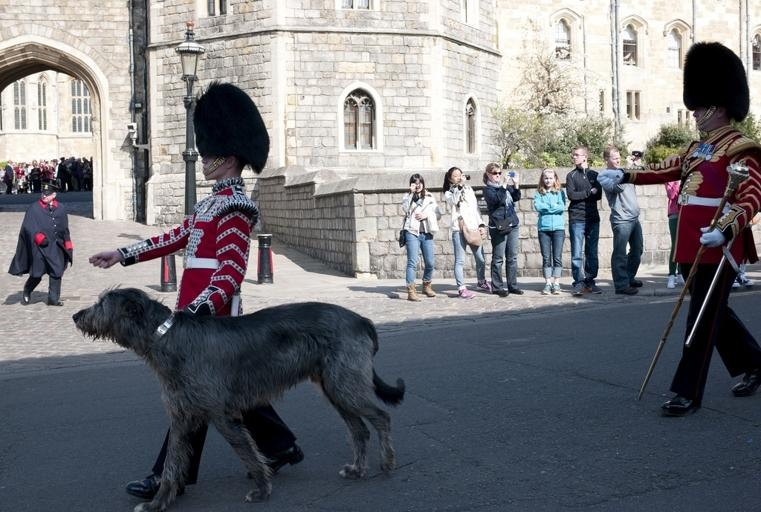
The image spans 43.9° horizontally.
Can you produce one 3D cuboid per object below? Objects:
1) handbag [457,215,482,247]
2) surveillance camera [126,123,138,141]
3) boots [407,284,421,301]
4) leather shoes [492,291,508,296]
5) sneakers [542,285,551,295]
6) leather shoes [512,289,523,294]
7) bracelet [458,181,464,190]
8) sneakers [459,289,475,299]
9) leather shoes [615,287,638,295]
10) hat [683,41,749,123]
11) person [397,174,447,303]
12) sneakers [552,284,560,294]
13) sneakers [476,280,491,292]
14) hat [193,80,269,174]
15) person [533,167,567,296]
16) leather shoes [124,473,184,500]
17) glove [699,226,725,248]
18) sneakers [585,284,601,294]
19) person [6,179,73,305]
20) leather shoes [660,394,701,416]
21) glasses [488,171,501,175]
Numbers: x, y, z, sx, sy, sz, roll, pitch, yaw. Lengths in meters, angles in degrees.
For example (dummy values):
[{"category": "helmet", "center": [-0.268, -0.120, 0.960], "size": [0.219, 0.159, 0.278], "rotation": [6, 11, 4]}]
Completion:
[{"category": "handbag", "center": [1.400, -0.397, 15.288], "size": [0.468, 0.489, 0.167], "rotation": [7, -34, -28]}, {"category": "surveillance camera", "center": [-8.180, -4.019, 30.677], "size": [0.356, 0.576, 0.343], "rotation": [-1, 10, 8]}, {"category": "boots", "center": [0.500, 0.573, 15.075], "size": [0.205, 0.277, 0.280], "rotation": [-2, 10, 1]}, {"category": "leather shoes", "center": [1.927, 0.602, 15.309], "size": [0.253, 0.093, 0.308], "rotation": [-1, 10, 6]}, {"category": "sneakers", "center": [2.690, 0.557, 15.379], "size": [0.155, 0.166, 0.441], "rotation": [-2, -1, 13]}, {"category": "leather shoes", "center": [2.218, 0.580, 15.379], "size": [0.190, 0.074, 0.078], "rotation": [1, 7, 24]}, {"category": "bracelet", "center": [1.293, -1.139, 15.346], "size": [0.096, 0.116, 0.105], "rotation": [-5, 24, -3]}, {"category": "sneakers", "center": [1.355, 0.599, 15.175], "size": [0.227, 0.153, 0.274], "rotation": [-1, 10, 7]}, {"category": "leather shoes", "center": [3.873, 0.555, 14.974], "size": [0.346, 0.135, 0.123], "rotation": [-3, 0, 34]}, {"category": "hat", "center": [3.226, -1.696, 9.222], "size": [0.847, 0.647, 0.578], "rotation": [5, 5, -6]}, {"category": "person", "center": [0.620, -0.316, 15.564], "size": [0.625, 2.082, 1.506], "rotation": [-2, 10, 3]}, {"category": "sneakers", "center": [2.836, 0.508, 15.356], "size": [0.142, 0.194, 0.432], "rotation": [0, 10, 11]}, {"category": "sneakers", "center": [1.724, 0.521, 15.994], "size": [0.110, 0.130, 0.320], "rotation": [-3, -1, -27]}, {"category": "hat", "center": [-1.348, -1.104, 8.188], "size": [0.681, 0.749, 0.851], "rotation": [-15, -2, -6]}, {"category": "person", "center": [2.742, -0.396, 15.366], "size": [0.473, 1.979, 0.768], "rotation": [-1, 10, 9]}, {"category": "leather shoes", "center": [-1.802, 1.862, 7.664], "size": [0.565, 0.237, 0.207], "rotation": [4, 1, -13]}, {"category": "glove", "center": [3.021, -0.165, 8.583], "size": [0.210, 0.182, 0.245], "rotation": [1, 10, 20]}, {"category": "sneakers", "center": [3.414, 0.546, 15.315], "size": [0.101, 0.126, 0.298], "rotation": [1, 0, -42]}, {"category": "person", "center": [-5.539, -0.212, 15.452], "size": [1.149, 1.917, 0.866], "rotation": [5, 12, 35]}, {"category": "leather shoes", "center": [2.821, 1.410, 8.869], "size": [0.375, 0.148, 0.168], "rotation": [0, -5, -22]}, {"category": "glasses", "center": [1.847, -1.325, 15.285], "size": [0.247, 0.057, 0.117], "rotation": [-10, 13, -42]}]
